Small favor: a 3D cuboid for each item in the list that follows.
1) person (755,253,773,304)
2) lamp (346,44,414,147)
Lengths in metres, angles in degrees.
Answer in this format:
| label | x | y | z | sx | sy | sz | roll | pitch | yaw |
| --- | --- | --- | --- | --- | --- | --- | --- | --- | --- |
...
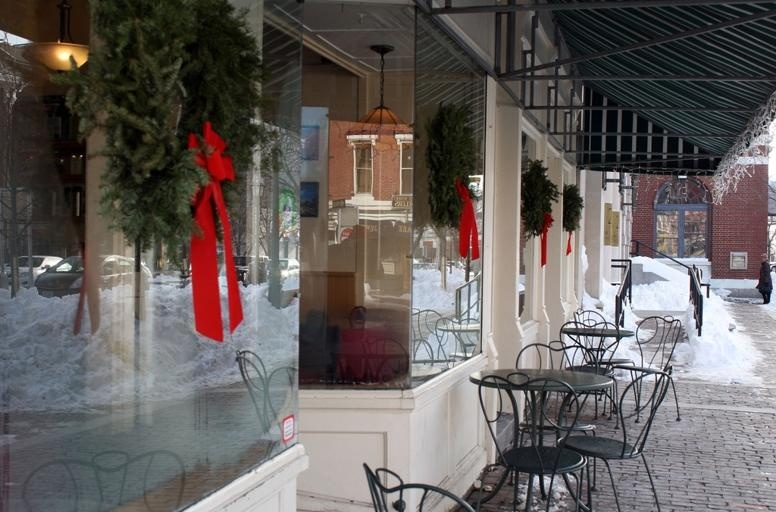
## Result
| label | x | y | z | sx | sy | sz | roll | pitch | yaw |
| --- | --- | --- | --- | --- | --- | --- | --- | --- | --- |
| person | 11.339 | 0.696 | 22.038 | 0.404 | 1.352 | 1.878 | 1 | 1 | 27 |
| lamp | -0.076 | -1.083 | 5.084 | 0.540 | 0.698 | 0.541 | 0 | 1 | -22 |
